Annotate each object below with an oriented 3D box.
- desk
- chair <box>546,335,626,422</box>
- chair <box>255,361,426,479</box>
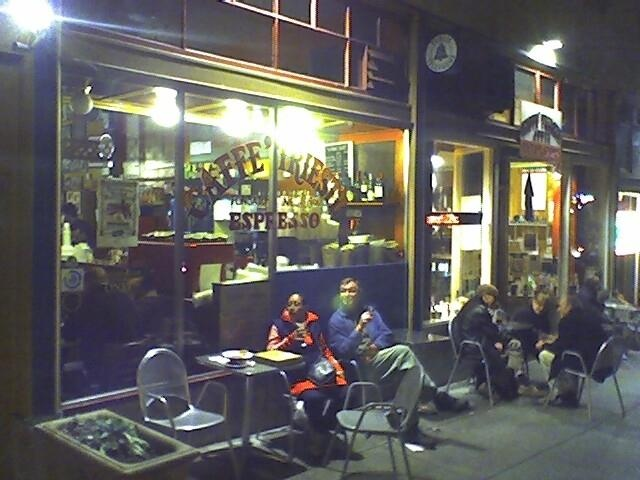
[{"bbox_3d":[-0.651,1.898,6.599,1.195,1.437,1.153,-3,4,-41],"label":"desk"},{"bbox_3d":[3.864,1.816,8.212,0.920,1.054,1.462,4,2,36],"label":"chair"},{"bbox_3d":[0.233,1.978,6.531,1.277,1.839,1.122,6,-7,-5],"label":"chair"}]
